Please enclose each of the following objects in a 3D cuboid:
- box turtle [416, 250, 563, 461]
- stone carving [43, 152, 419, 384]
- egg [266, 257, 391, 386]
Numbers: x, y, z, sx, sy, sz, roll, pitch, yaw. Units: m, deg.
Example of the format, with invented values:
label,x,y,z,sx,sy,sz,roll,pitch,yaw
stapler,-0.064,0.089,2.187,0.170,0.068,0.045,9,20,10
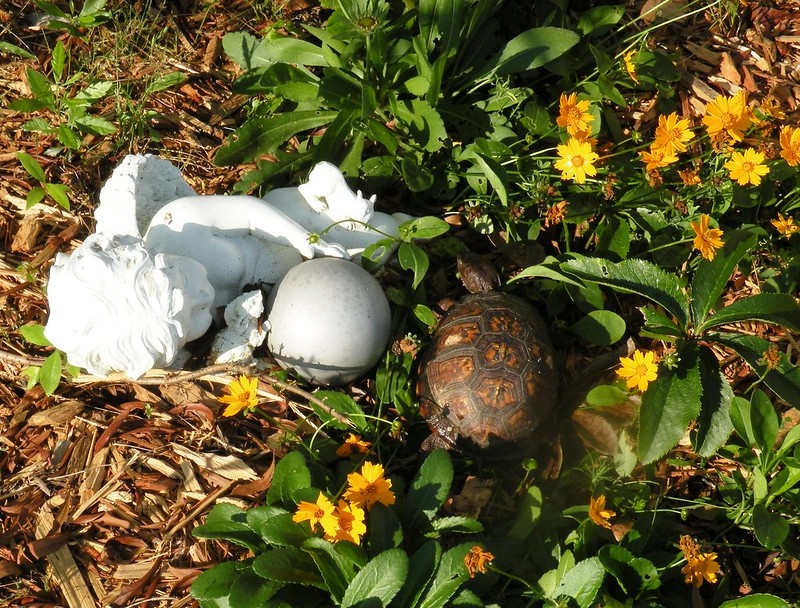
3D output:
label,x,y,z,sx,sy,sz,roll,pitch,yaw
box turtle,0.377,0.243,3.066,0.749,0.337,0.829,12,55,0
stone carving,-0.930,-0.183,3.272,1.150,1.046,1.763,-12,33,-28
egg,-0.263,0.102,3.187,0.523,0.569,0.480,-8,68,4
